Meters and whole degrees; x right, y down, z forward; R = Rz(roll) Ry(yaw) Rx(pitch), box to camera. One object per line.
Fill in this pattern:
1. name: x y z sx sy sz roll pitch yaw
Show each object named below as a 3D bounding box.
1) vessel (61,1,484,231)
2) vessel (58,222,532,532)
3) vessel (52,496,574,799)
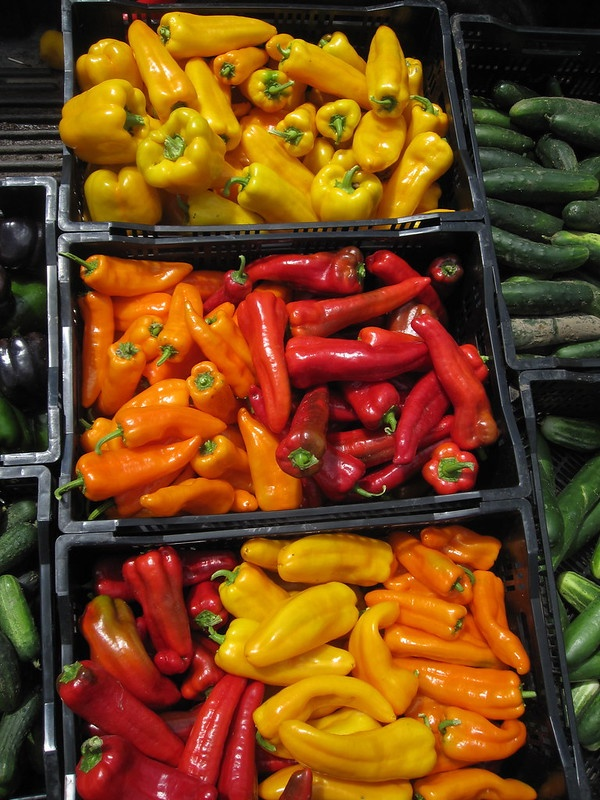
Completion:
1. vessel: -0.134 -1.508 3.658 1.912 0.607 1.025 -2 96 -11
2. vessel: -0.027 -0.089 3.095 1.917 0.898 1.266 -4 55 -4
3. vessel: 0.070 0.776 2.556 1.728 0.524 1.127 -3 90 -3
